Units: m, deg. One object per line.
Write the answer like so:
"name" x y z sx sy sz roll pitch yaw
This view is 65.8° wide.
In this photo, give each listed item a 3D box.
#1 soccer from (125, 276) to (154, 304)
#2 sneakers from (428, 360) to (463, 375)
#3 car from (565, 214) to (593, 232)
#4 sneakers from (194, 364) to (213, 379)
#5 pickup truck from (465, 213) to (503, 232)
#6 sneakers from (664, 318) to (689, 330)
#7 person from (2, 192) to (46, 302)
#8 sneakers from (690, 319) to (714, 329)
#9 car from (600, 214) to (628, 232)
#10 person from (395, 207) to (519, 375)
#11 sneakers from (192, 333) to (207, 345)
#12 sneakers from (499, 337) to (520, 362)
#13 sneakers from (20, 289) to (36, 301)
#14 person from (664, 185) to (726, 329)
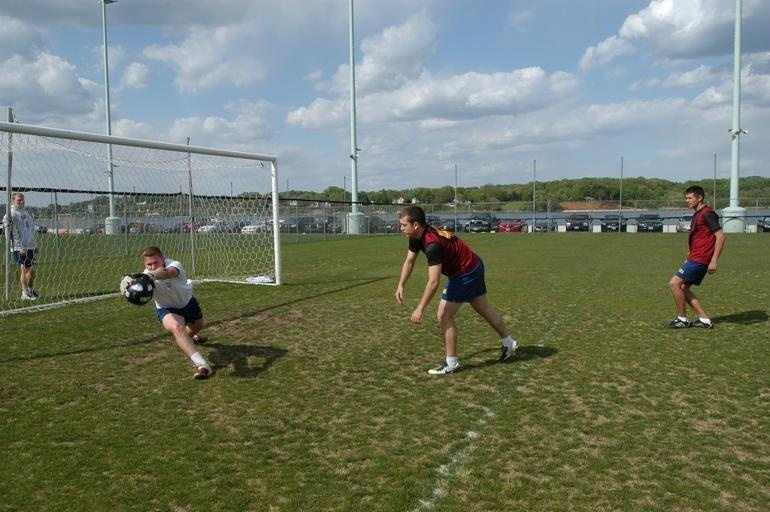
"soccer" -3.040 0.407 7.431 0.424 0.368 0.351 0 2 14
"sneakers" 0.766 1.447 7.663 0.475 0.153 0.145 0 -6 -8
"car" 12.910 -2.143 39.019 1.043 0.715 1.700 -2 -1 30
"sneakers" -2.313 1.443 7.541 0.231 0.171 0.254 -6 7 -15
"pickup truck" 7.060 -2.349 42.360 1.296 0.844 2.614 -1 0 23
"sneakers" 4.517 1.050 9.307 0.423 0.158 0.141 -1 4 6
"person" -7.171 -0.209 11.709 0.522 2.103 1.128 -9 8 -29
"sneakers" 4.942 1.033 9.232 0.347 0.135 0.122 10 57 34
"car" 14.946 -2.132 38.492 1.212 0.742 1.879 -2 -2 27
"person" 0.883 0.412 7.505 1.309 2.167 0.696 -6 7 -14
"sneakers" -2.717 1.199 8.592 0.295 0.120 0.097 4 7 15
"sneakers" 1.683 1.269 8.056 0.210 0.400 0.153 4 32 -15
"sneakers" -6.891 0.732 11.490 0.229 0.244 0.391 -10 8 -38
"person" 4.948 -0.028 9.441 0.782 2.167 1.495 -2 7 27
